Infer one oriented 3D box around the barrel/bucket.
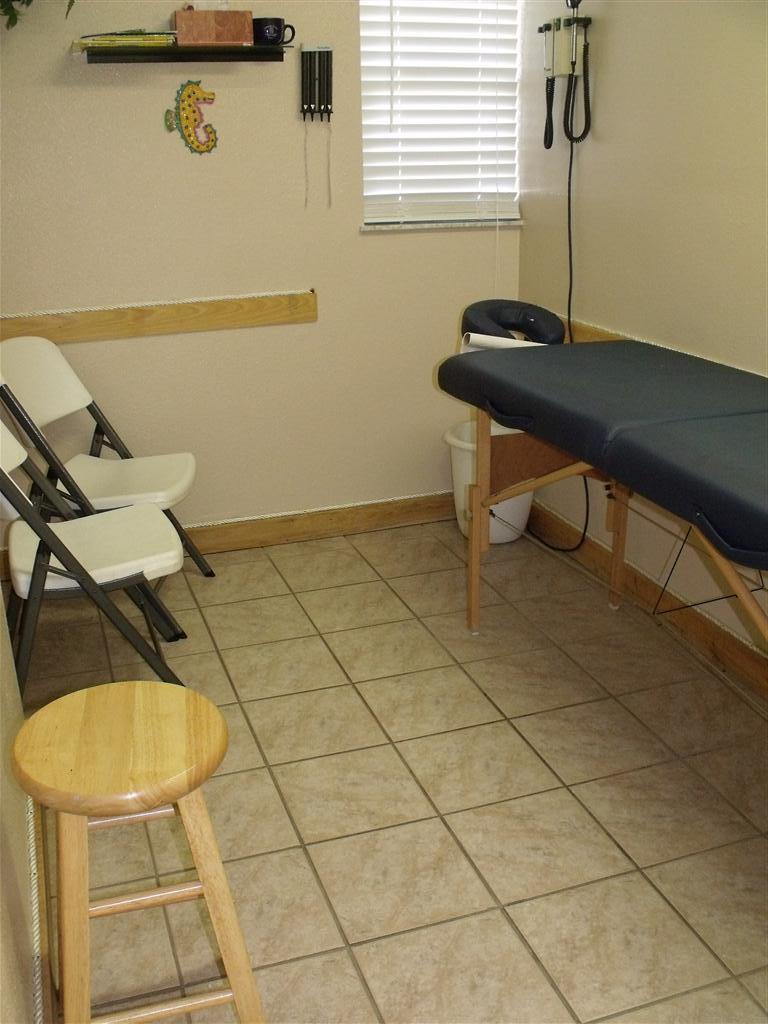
[{"bbox_3d":[0.388,-0.121,3.603,0.475,0.461,0.460,-1,25,0],"label":"barrel/bucket"}]
